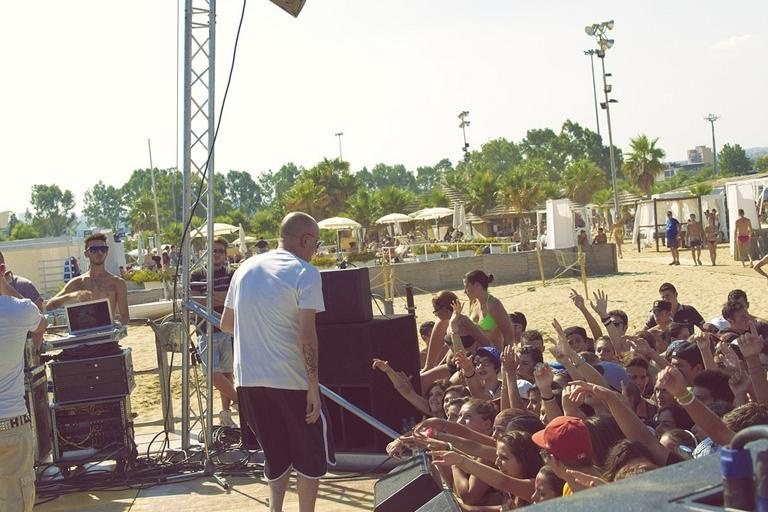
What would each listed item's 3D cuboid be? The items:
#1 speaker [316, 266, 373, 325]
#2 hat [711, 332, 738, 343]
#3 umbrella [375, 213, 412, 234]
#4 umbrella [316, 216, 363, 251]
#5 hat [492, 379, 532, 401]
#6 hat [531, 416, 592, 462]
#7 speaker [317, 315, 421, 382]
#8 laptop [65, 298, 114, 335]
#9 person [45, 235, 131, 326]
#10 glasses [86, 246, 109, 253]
[{"bbox_3d":[-0.315,0.372,6.251,0.647,0.604,0.217,-3,-21,-48],"label":"speaker"},{"bbox_3d":[3.606,0.867,6.677,0.185,0.077,0.187,-2,-1,-32],"label":"hat"},{"bbox_3d":[0.608,-1.660,37.970,1.834,1.498,1.906,0,10,4],"label":"umbrella"},{"bbox_3d":[-2.664,-1.401,40.126,2.502,3.067,2.730,3,11,23],"label":"umbrella"},{"bbox_3d":[1.243,1.225,5.795,0.192,0.129,0.317,-1,-3,34],"label":"hat"},{"bbox_3d":[1.190,1.172,4.226,0.362,0.230,0.294,6,20,24],"label":"hat"},{"bbox_3d":[-0.220,0.965,6.514,1.149,0.706,1.154,6,-10,-36],"label":"speaker"},{"bbox_3d":[-2.800,0.616,5.968,0.430,0.326,0.317,-10,13,-27],"label":"laptop"},{"bbox_3d":[-3.235,0.285,6.931,0.832,1.129,0.611,1,-12,-29],"label":"person"},{"bbox_3d":[-3.128,-0.074,6.894,0.226,0.076,0.101,-6,0,-41],"label":"glasses"}]
